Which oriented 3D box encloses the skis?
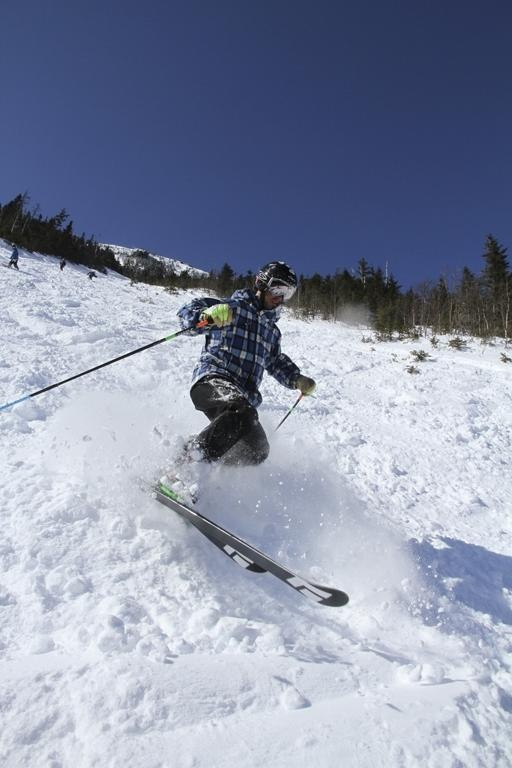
[{"bbox_3d":[-0.098,0.976,3.638,1.193,0.165,0.128,32,36,32],"label":"skis"}]

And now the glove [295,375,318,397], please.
[{"bbox_3d":[0.404,0.012,4.870,0.122,0.122,0.168,23,24,-12],"label":"glove"}]

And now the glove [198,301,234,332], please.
[{"bbox_3d":[-0.252,-0.447,3.867,0.200,0.088,0.150,-12,17,-39],"label":"glove"}]
